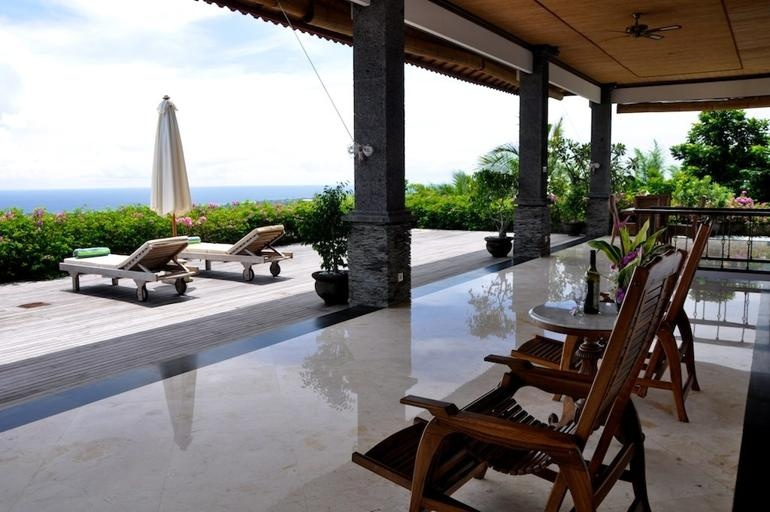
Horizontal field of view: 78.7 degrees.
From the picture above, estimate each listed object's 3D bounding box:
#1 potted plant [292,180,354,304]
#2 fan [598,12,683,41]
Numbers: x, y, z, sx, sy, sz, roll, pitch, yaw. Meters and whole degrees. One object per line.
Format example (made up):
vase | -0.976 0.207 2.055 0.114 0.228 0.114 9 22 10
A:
potted plant | -0.828 -0.176 6.472 0.688 1.603 0.619 -2 8 -2
fan | 4.469 -3.985 8.147 0.881 0.313 0.887 -5 7 -16
